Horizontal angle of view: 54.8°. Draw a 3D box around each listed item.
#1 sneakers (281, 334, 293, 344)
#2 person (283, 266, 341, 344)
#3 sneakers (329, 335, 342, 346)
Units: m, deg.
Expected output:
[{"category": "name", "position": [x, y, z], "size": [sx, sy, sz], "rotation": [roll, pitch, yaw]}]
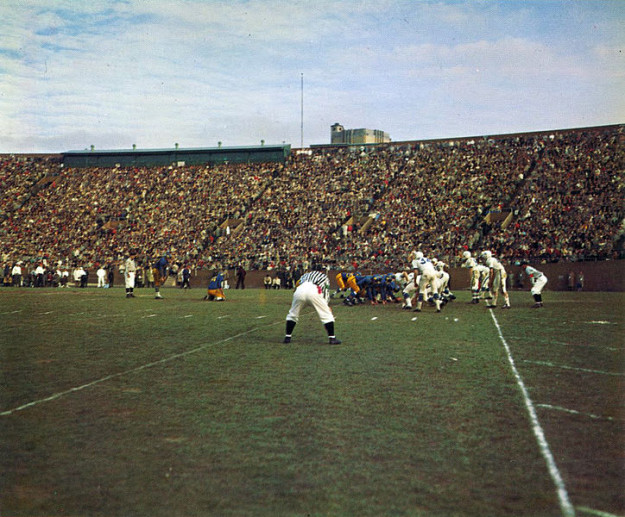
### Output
[{"category": "sneakers", "position": [-0.562, 1.761, 13.112], "size": [0.179, 0.164, 0.160], "rotation": [2, -7, -6]}, {"category": "person", "position": [0.063, 0.996, 13.223], "size": [1.333, 1.703, 1.038], "rotation": [0, -19, 23]}, {"category": "sneakers", "position": [0.437, 1.719, 12.867], "size": [0.285, 0.250, 0.135], "rotation": [-13, 7, -12]}]
